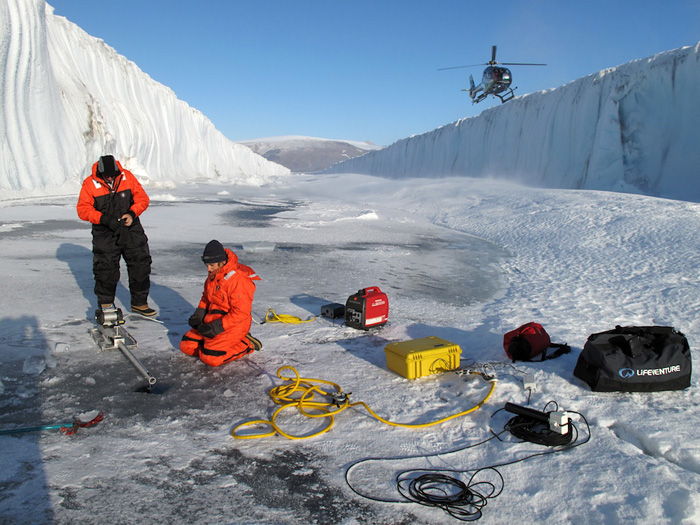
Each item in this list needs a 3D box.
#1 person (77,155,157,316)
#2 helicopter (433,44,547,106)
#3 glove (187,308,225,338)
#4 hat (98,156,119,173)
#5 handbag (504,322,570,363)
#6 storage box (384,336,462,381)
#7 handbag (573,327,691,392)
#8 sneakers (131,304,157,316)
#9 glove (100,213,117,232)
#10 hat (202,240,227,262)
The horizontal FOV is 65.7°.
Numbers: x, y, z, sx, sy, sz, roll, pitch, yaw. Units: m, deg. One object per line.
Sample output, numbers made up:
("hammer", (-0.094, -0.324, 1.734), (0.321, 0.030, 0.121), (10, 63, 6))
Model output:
("person", (-2.506, -0.263, 5.863), (0.755, 1.754, 0.564), (-8, 18, -35))
("helicopter", (4.366, -5.782, 17.251), (3.172, 0.915, 3.254), (-2, 2, -11))
("glove", (-1.323, 0.580, 5.048), (0.273, 0.115, 0.345), (14, 6, -41))
("hat", (-2.549, -1.020, 5.686), (0.188, 0.200, 0.254), (-3, 12, -20))
("handbag", (1.829, 0.768, 5.181), (0.625, 0.327, 0.294), (0, 13, -9))
("storage box", (0.767, 0.860, 5.100), (0.838, 0.226, 0.518), (-5, 11, -17))
("handbag", (2.405, 0.821, 4.534), (0.981, 0.233, 0.532), (-7, 22, 9))
("sneakers", (-2.366, 0.539, 6.105), (0.356, 0.088, 0.116), (5, 12, 14))
("glove", (-2.528, -0.423, 5.704), (0.199, 0.198, 0.125), (-2, 14, -18))
("hat", (-1.257, -0.087, 5.114), (0.242, 0.161, 0.246), (-2, -7, -14))
